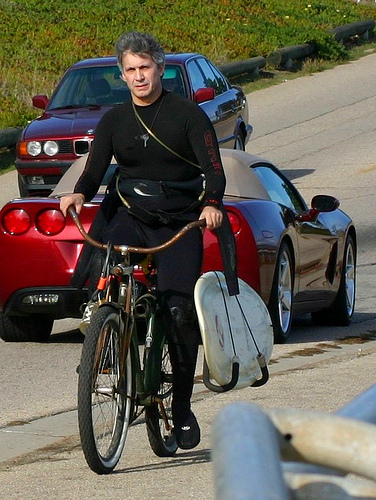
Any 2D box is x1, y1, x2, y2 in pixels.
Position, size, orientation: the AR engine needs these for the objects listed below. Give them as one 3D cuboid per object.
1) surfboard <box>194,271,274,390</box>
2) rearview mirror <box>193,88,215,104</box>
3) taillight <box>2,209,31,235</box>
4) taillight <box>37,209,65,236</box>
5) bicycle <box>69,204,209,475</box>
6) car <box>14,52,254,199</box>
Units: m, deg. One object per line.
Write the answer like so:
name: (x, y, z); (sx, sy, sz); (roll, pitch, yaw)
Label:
surfboard: (0.255, 0.457, 3.328); (0.462, 0.708, 0.909); (3, 18, 7)
rearview mirror: (0.282, -2.830, 10.395); (0.380, 0.282, 0.293); (-3, 5, 2)
taillight: (-1.642, -0.262, 5.518); (0.287, 0.245, 0.062); (3, -3, 17)
taillight: (-1.289, -0.266, 5.415); (0.281, 0.250, 0.091); (0, 6, 28)
bicycle: (-0.298, 0.521, 3.265); (0.795, 1.468, 0.609); (-5, 6, -20)
car: (-1.577, -2.118, 11.285); (2.960, 1.974, 6.292); (-10, 10, -32)
